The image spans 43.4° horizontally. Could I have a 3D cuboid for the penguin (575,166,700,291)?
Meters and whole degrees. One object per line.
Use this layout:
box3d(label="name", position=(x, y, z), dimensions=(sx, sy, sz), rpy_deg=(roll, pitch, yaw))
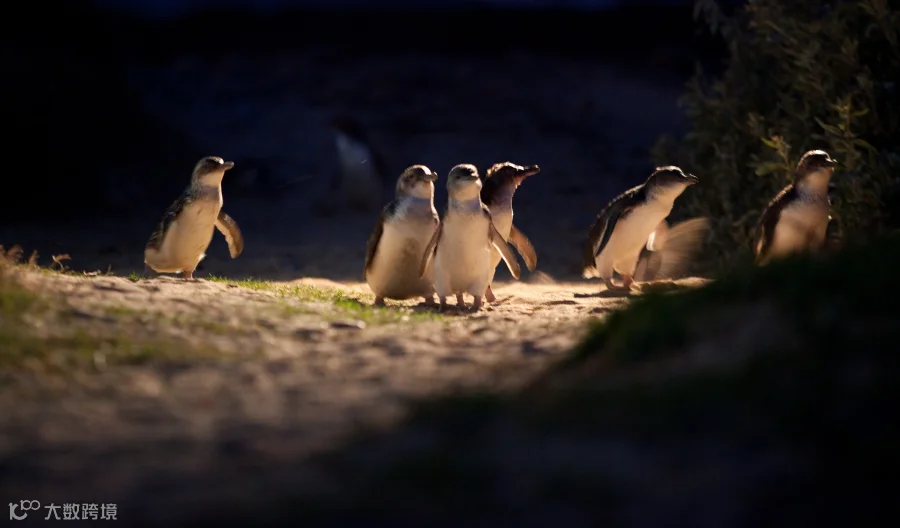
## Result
box3d(label="penguin", position=(3.604, -0.630, 18.216), dimensions=(2.539, 1.415, 2.018), rpy_deg=(-1, 1, 37))

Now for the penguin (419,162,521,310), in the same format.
box3d(label="penguin", position=(0.305, -0.388, 17.065), dimensions=(1.132, 2.132, 0.760), rpy_deg=(9, -7, -32))

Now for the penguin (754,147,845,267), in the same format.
box3d(label="penguin", position=(5.239, -0.849, 16.812), dimensions=(0.852, 1.938, 1.819), rpy_deg=(0, 1, -22))

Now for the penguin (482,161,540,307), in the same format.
box3d(label="penguin", position=(0.772, -0.538, 18.174), dimensions=(1.613, 2.019, 1.525), rpy_deg=(0, 10, 18))

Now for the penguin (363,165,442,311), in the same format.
box3d(label="penguin", position=(-0.895, -0.370, 17.762), dimensions=(1.510, 1.844, 1.984), rpy_deg=(0, -6, -32))

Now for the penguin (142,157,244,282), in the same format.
box3d(label="penguin", position=(-4.204, -0.664, 17.995), dimensions=(1.596, 1.962, 2.167), rpy_deg=(1, 3, -21))
